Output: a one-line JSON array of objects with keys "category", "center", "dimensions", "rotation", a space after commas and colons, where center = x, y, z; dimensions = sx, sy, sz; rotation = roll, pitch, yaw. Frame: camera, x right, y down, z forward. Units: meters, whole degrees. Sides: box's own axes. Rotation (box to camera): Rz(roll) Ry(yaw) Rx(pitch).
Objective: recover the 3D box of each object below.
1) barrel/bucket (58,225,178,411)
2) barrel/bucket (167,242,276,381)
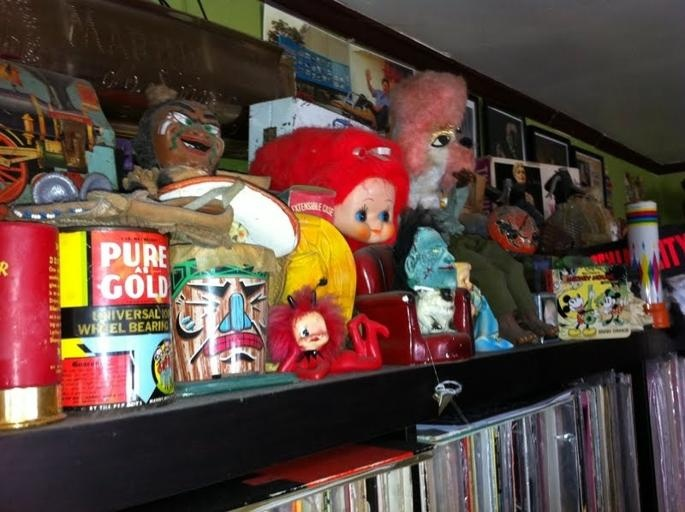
[{"category": "barrel/bucket", "center": [-0.244, 0.070, 0.720], "dimensions": [0.156, 0.266, 0.170], "rotation": [-1, -3, 0]}, {"category": "barrel/bucket", "center": [-0.161, 0.072, 0.735], "dimensions": [0.153, 0.172, 0.153], "rotation": [-1, -6, 0]}]
